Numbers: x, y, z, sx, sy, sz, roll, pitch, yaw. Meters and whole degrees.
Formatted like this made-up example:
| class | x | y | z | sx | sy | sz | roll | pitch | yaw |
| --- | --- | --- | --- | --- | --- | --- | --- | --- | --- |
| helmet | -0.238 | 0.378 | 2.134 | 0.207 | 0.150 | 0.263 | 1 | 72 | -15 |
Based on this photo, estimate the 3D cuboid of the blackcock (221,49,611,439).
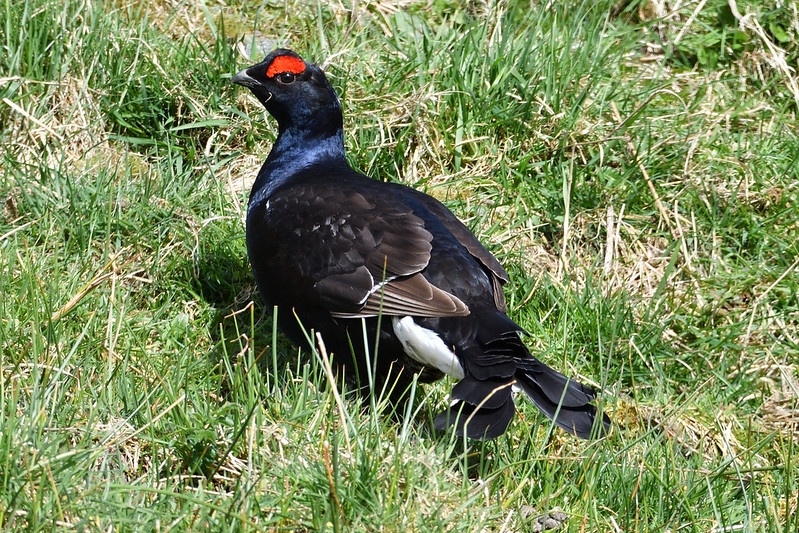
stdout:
| class | x | y | z | sx | sy | sz | roll | pitch | yaw |
| --- | --- | --- | --- | --- | --- | --- | --- | --- | --- |
| blackcock | -0.056 | -0.257 | 4.908 | 2.064 | 2.162 | 3.634 | 1 | 0 | -5 |
